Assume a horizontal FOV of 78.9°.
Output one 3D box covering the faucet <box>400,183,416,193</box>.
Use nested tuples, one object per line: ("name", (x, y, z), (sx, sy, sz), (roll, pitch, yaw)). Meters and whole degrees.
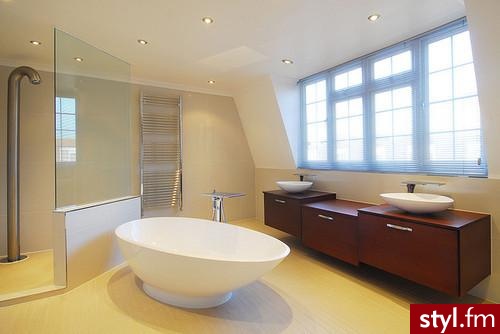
("faucet", (1.989, 0.252, 3.839), (0.151, 0.139, 0.154), (1, 2, 42))

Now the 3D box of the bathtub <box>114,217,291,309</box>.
("bathtub", (-0.615, 1.142, 3.622), (2.129, 0.827, 1.120), (1, 3, 30))

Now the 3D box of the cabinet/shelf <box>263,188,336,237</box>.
("cabinet/shelf", (0.790, 0.693, 4.945), (0.742, 0.570, 0.975), (-4, 3, -30))

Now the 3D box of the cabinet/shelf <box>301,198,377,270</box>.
("cabinet/shelf", (1.214, 0.833, 4.116), (0.892, 0.496, 0.839), (-1, 1, -38))

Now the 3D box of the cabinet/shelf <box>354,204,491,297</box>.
("cabinet/shelf", (2.069, 0.904, 3.697), (0.944, 0.695, 1.249), (-4, 3, -38))
